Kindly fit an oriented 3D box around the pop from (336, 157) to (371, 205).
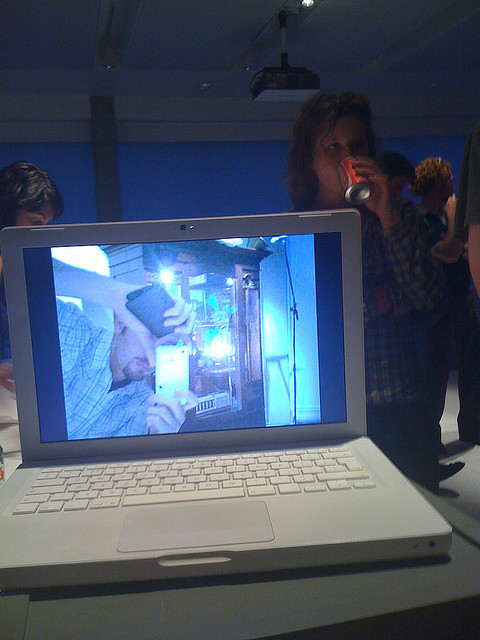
[{"bbox_3d":[0.412,-0.472,2.024,0.131,0.216,0.125,-4,-24,13],"label":"pop"}]
